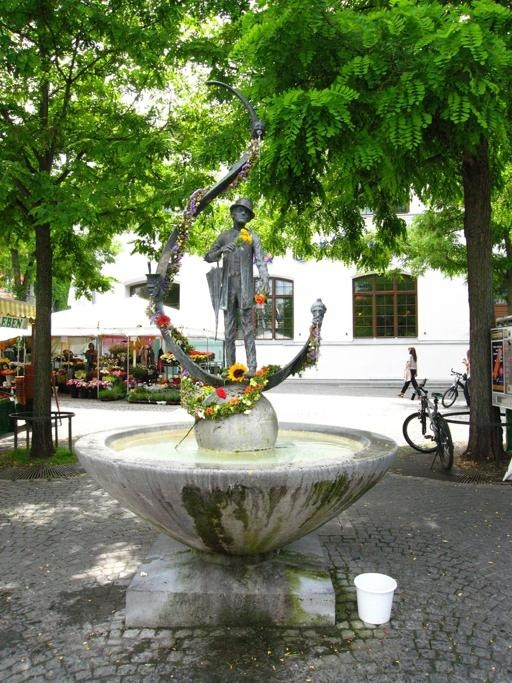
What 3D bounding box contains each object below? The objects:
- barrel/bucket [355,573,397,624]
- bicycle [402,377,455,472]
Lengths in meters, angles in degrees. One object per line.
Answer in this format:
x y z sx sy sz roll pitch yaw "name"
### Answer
0.723 1.550 3.838 0.232 0.248 0.271 0 0 7 "barrel/bucket"
2.540 1.148 9.067 0.772 1.021 1.703 -5 1 0 "bicycle"
